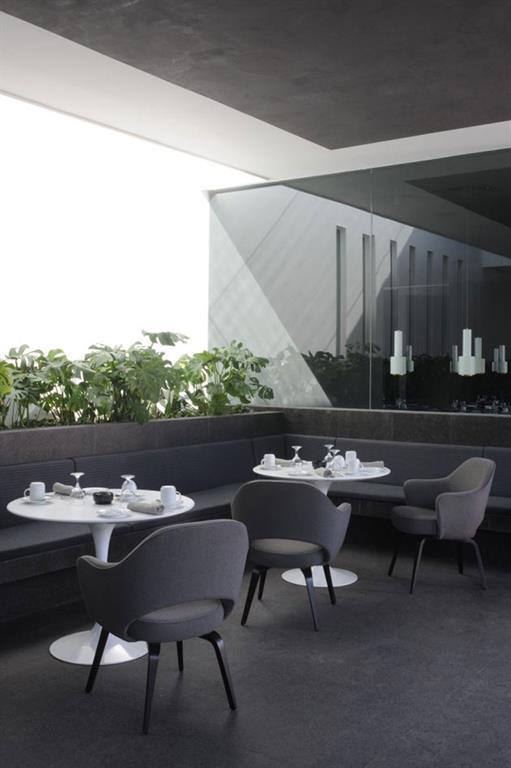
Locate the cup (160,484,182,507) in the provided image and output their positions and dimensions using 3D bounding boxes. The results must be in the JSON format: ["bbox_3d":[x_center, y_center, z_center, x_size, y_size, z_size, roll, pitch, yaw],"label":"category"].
[{"bbox_3d":[-0.389,0.507,2.653,0.069,0.100,0.112,-2,-5,18],"label":"cup"}]

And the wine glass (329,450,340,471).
[{"bbox_3d":[0.513,0.516,3.747,0.068,0.085,0.182,0,-5,10],"label":"wine glass"}]

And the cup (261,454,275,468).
[{"bbox_3d":[0.082,0.536,4.072,0.125,0.094,0.088,-1,-2,40],"label":"cup"}]

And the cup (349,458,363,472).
[{"bbox_3d":[0.650,0.532,3.751,0.047,0.084,0.151,-2,-6,28],"label":"cup"}]

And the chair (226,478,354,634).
[{"bbox_3d":[0.194,0.872,3.200,0.631,0.792,0.572,0,3,11],"label":"chair"}]

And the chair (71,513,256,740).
[{"bbox_3d":[-0.306,0.781,2.046,0.503,0.668,0.558,1,-3,38],"label":"chair"}]

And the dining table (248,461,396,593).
[{"bbox_3d":[0.439,0.989,4.020,0.816,0.664,0.770,0,-9,-10],"label":"dining table"}]

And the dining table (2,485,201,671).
[{"bbox_3d":[-0.674,0.863,2.570,0.754,0.603,0.781,1,-1,-4],"label":"dining table"}]

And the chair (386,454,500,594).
[{"bbox_3d":[1.254,0.915,3.890,0.648,0.799,0.665,3,-4,-21],"label":"chair"}]
